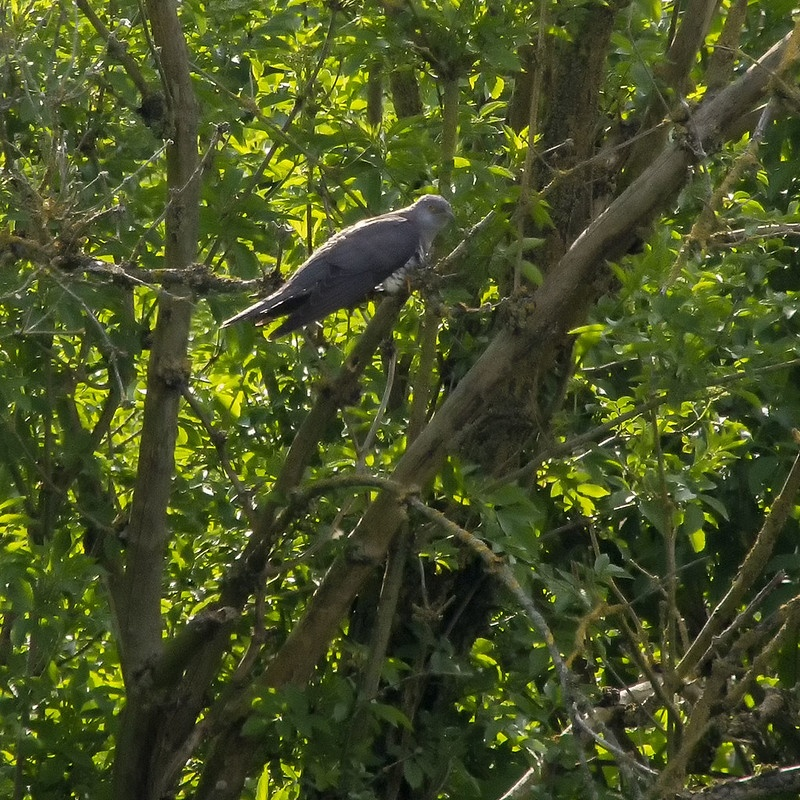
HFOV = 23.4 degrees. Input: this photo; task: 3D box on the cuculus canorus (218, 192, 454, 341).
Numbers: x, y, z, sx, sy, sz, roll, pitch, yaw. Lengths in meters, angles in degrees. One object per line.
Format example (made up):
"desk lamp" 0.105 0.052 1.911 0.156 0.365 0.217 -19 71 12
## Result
"cuculus canorus" -0.169 -0.457 6.520 0.780 0.435 0.245 -6 -11 -17
